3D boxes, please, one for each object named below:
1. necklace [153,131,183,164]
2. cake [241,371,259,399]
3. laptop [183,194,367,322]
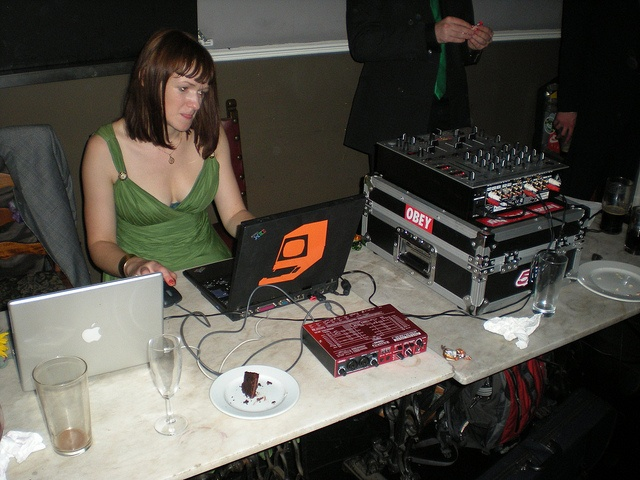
[{"bbox_3d":[-0.722,-0.444,2.455,0.131,0.172,0.015,-8,26,-19],"label":"necklace"},{"bbox_3d":[-0.225,0.460,1.658,0.018,0.071,0.066,11,-7,-38],"label":"cake"},{"bbox_3d":[-0.152,-0.072,1.955,0.548,0.480,0.478,-17,34,-29],"label":"laptop"}]
